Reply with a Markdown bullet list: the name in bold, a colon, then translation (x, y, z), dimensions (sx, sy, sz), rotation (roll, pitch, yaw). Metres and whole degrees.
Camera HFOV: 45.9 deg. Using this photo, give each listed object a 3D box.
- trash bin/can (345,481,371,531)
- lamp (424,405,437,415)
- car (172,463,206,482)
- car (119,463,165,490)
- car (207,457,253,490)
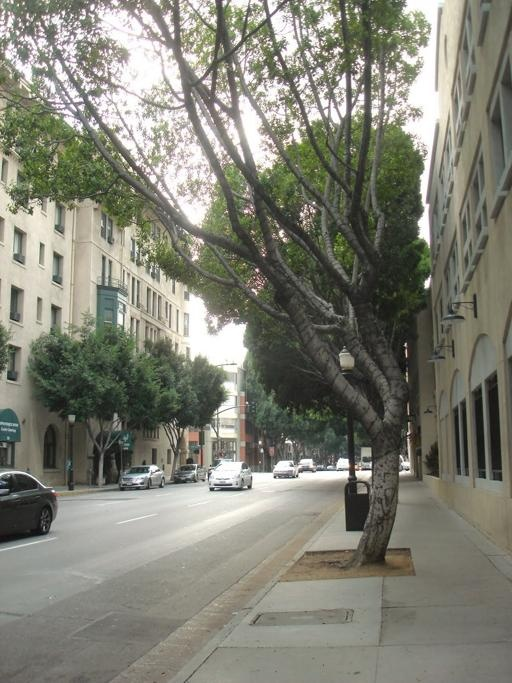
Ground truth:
- **trash bin/can**: translation (2.164, 3.445, 12.754), dimensions (0.556, 1.098, 0.585), rotation (8, -12, -42)
- **lamp**: translation (8.510, 3.282, 29.500), dimensions (0.586, 0.518, 0.411), rotation (7, -17, -10)
- **car**: translation (-5.594, 10.935, 50.431), dimensions (2.208, 1.760, 4.542), rotation (0, -14, -4)
- **car**: translation (-7.161, 8.605, 38.297), dimensions (1.103, 1.153, 3.162), rotation (-4, -27, 6)
- **car**: translation (-1.479, 7.755, 35.180), dimensions (1.775, 1.751, 3.456), rotation (-6, -14, 24)
